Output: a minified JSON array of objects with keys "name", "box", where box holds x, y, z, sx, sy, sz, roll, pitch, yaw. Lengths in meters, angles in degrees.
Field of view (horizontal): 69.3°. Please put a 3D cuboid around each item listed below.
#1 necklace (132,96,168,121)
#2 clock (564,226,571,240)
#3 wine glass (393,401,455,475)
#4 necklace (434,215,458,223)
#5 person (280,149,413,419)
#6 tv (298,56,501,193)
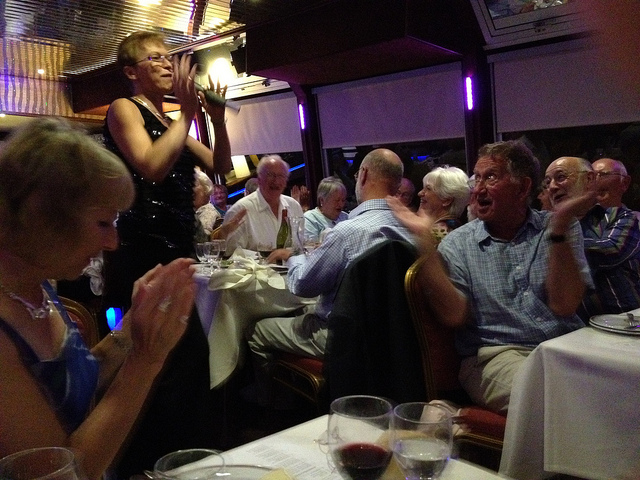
[{"name":"necklace","box":[-0.732,-0.559,2.035,0.015,0.140,0.046,-43,-2,15]},{"name":"clock","box":[1.060,-0.028,1.981,0.023,0.057,0.055,2,9,38]},{"name":"wine glass","box":[0.187,0.347,0.835,0.100,0.105,0.137,-4,6,12]},{"name":"necklace","box":[0.805,-0.138,2.970,0.036,0.022,0.357,-1,8,34]},{"name":"person","box":[0.165,0.419,2.781,0.754,1.955,0.611,-10,23,-36]},{"name":"tv","box":[0.911,-1.349,5.074,0.077,1.238,1.751,-24,22,-37]}]
